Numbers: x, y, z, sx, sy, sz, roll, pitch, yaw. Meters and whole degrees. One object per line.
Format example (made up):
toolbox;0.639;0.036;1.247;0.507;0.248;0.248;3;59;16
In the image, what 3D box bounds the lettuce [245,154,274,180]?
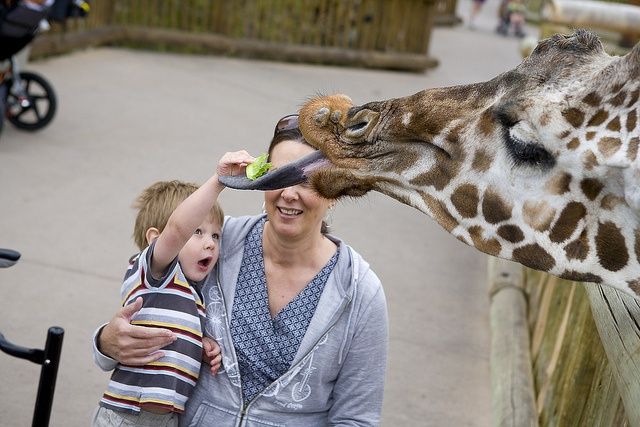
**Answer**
lettuce;-0.323;-0.231;5.005;0.166;0.058;0.104;-43;42;-17
